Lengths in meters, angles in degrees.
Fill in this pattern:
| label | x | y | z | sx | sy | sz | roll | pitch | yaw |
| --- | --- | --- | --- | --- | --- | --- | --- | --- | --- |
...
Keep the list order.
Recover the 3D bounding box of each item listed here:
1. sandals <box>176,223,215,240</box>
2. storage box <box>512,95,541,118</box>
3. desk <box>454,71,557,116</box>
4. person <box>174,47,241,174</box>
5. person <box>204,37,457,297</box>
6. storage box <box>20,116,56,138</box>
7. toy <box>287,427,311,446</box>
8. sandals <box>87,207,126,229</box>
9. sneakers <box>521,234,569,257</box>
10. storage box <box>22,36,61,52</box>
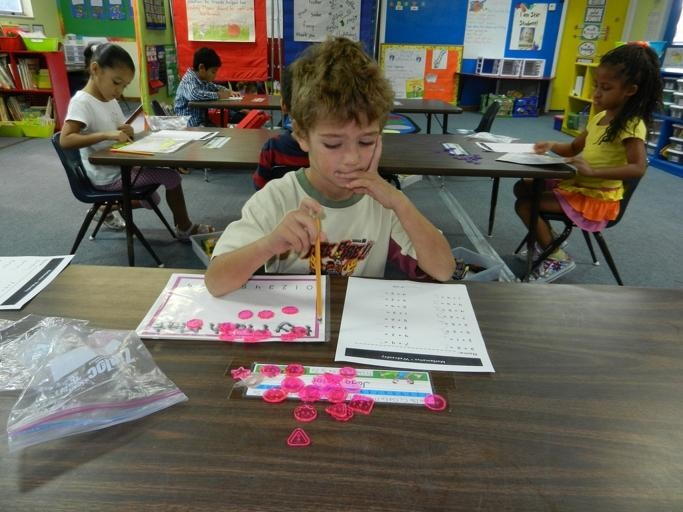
| label | x | y | z | sx | sy | sz | roll | pitch | yaw |
| --- | --- | --- | --- | --- | --- | --- | --- | --- | --- |
| sandals | -0.926 | -0.153 | 3.110 | 0.309 | 0.083 | 0.092 | -5 | 27 | -10 |
| storage box | 3.005 | -2.431 | 8.127 | 0.638 | 0.390 | 0.290 | -2 | 33 | 3 |
| desk | 2.710 | -2.784 | 8.389 | 1.250 | 0.441 | 0.937 | 2 | 33 | -2 |
| person | -1.222 | -1.397 | 4.474 | 0.716 | 0.750 | 0.474 | 1 | 31 | -9 |
| person | -0.070 | -0.188 | 1.214 | 0.612 | 0.632 | 0.473 | -9 | 32 | -12 |
| storage box | -3.488 | -1.464 | 5.715 | 0.380 | 0.115 | 0.397 | 0 | 5 | -4 |
| toy | -0.066 | 0.283 | 0.778 | 0.036 | 0.007 | 0.033 | -2 | 25 | -3 |
| sandals | -1.438 | -0.228 | 3.038 | 0.270 | 0.099 | 0.102 | 18 | 39 | -2 |
| sneakers | 1.100 | -0.054 | 2.698 | 0.238 | 0.085 | 0.061 | -17 | 40 | 18 |
| storage box | -3.355 | -2.359 | 5.552 | 0.362 | 0.162 | 0.240 | -13 | 30 | -22 |
